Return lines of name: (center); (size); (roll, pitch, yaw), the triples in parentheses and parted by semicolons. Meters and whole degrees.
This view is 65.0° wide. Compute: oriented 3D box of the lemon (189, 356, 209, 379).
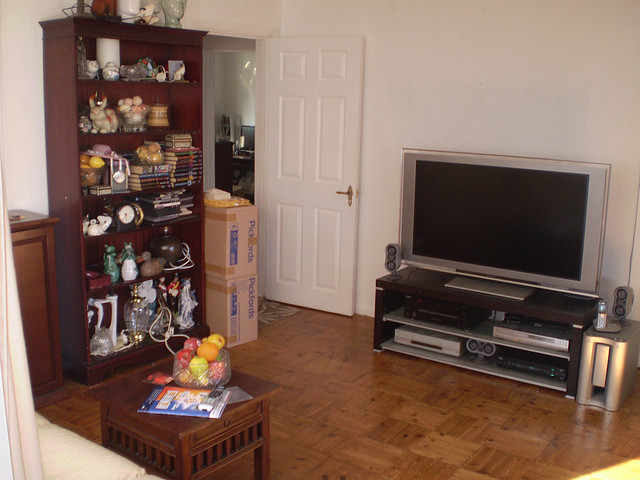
lemon: (-0.572, 0.603, 2.378); (0.086, 0.100, 0.085); (0, -1, -4)

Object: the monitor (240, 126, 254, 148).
monitor: (-1.208, -1.712, 8.391); (0.391, 0.447, 0.037); (2, 3, 27)

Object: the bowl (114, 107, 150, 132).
bowl: (-1.337, -0.851, 3.603); (0.234, 0.149, 0.145); (-9, 17, -38)

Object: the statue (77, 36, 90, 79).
statue: (-1.534, -1.179, 3.262); (0.066, 0.273, 0.195); (-4, 14, -22)

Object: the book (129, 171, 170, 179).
book: (-1.253, -0.478, 3.713); (0.272, 0.044, 0.061); (-9, 17, -36)

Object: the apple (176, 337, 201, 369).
apple: (-0.642, 0.564, 2.487); (0.066, 0.064, 0.145); (18, 39, 6)

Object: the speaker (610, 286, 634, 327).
speaker: (2.106, 0.459, 3.511); (0.157, 0.273, 0.112); (-11, 18, -43)

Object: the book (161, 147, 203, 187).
book: (-1.025, -0.555, 4.005); (0.322, 0.301, 0.237); (-3, -7, 13)

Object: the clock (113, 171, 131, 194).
clock: (-1.402, -0.394, 3.556); (0.033, 0.132, 0.147); (5, 7, 22)

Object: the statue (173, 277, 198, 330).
statue: (-1.101, 0.512, 4.117); (0.169, 0.382, 0.255); (2, 13, 1)

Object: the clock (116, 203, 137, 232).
clock: (-1.398, -0.159, 3.630); (0.083, 0.250, 0.181); (7, 11, 34)

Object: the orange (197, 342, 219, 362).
orange: (-0.539, 0.544, 2.435); (0.090, 0.084, 0.089); (12, -2, -19)

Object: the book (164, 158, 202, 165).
book: (-1.046, -0.602, 3.896); (0.290, 0.034, 0.077); (-6, 16, -29)

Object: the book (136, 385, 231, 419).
book: (-0.614, 0.746, 2.320); (0.400, 0.031, 0.217); (3, 14, 8)

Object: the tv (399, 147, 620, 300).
tv: (1.463, -0.125, 3.761); (1.143, 0.765, 0.300); (7, 15, 30)

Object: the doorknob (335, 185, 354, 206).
doorknob: (0.260, -0.421, 4.776); (0.151, 0.210, 0.184); (-7, 13, -34)

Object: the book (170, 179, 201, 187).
book: (-1.041, -0.441, 3.919); (0.033, 0.041, 0.264); (12, 17, 39)

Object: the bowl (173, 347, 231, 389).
bowl: (-0.559, 0.642, 2.450); (0.204, 0.090, 0.202); (0, 13, 0)

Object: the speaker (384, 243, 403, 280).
speaker: (0.612, 0.173, 4.134); (0.145, 0.275, 0.169); (1, 13, 0)

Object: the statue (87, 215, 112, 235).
statue: (-1.532, -0.103, 3.517); (0.092, 0.111, 0.169); (4, 14, 10)

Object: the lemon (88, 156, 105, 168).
lemon: (-1.522, -0.527, 3.438); (0.084, 0.065, 0.067); (4, 15, 32)

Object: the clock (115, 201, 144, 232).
clock: (-1.381, -0.165, 3.664); (0.089, 0.225, 0.198); (8, 13, 35)

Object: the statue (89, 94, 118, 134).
statue: (-1.510, -0.889, 3.509); (0.171, 0.270, 0.224); (7, 19, 7)

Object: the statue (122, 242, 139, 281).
statue: (-1.396, 0.150, 3.708); (0.120, 0.254, 0.118); (5, 16, 17)

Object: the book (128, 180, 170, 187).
book: (-1.255, -0.412, 3.719); (0.288, 0.036, 0.060); (-7, 16, -31)

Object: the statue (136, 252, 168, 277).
statue: (-1.270, 0.197, 3.823); (0.200, 0.171, 0.138); (-1, 5, -42)

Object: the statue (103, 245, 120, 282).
statue: (-1.508, 0.167, 3.679); (0.107, 0.254, 0.198); (0, 13, -4)
